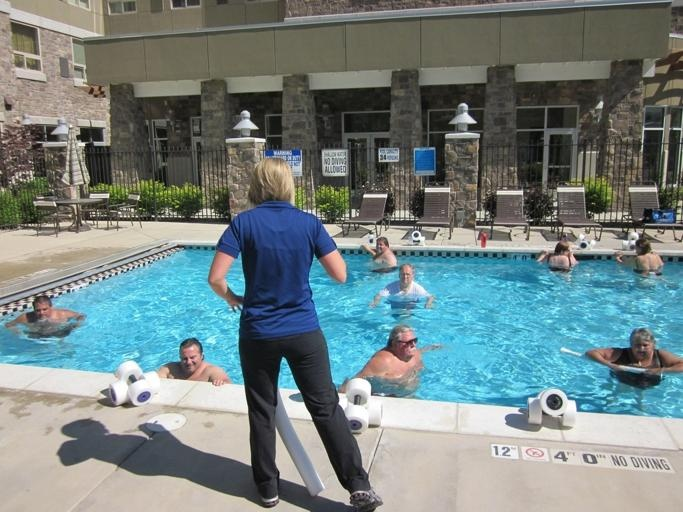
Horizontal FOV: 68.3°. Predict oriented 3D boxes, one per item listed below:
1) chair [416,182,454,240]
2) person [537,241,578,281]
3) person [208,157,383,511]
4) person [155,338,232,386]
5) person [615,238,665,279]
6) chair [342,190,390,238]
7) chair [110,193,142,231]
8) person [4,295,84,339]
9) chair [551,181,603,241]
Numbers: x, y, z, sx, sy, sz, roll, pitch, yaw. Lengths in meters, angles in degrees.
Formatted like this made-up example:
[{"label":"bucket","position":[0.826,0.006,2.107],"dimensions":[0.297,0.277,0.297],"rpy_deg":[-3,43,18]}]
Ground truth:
[{"label":"chair","position":[2.460,-1.153,13.091],"dimensions":[0.872,1.131,2.036],"rpy_deg":[3,13,12]},{"label":"person","position":[4.431,0.015,10.316],"dimensions":[0.737,0.615,0.638],"rpy_deg":[7,15,27]},{"label":"person","position":[-0.326,0.547,3.449],"dimensions":[1.085,2.364,0.540],"rpy_deg":[3,14,12]},{"label":"person","position":[-1.735,1.261,5.865],"dimensions":[0.949,0.551,0.557],"rpy_deg":[7,7,0]},{"label":"person","position":[6.001,0.098,10.137],"dimensions":[0.502,0.954,0.603],"rpy_deg":[-12,20,-12]},{"label":"chair","position":[0.759,-1.133,13.832],"dimensions":[0.857,0.868,1.647],"rpy_deg":[1,-9,-13]},{"label":"chair","position":[-6.885,-1.529,16.042],"dimensions":[0.999,0.878,2.684],"rpy_deg":[-5,14,-21]},{"label":"person","position":[-4.655,0.980,7.955],"dimensions":[1.060,0.726,0.588],"rpy_deg":[-2,-3,-23]},{"label":"chair","position":[5.680,-0.956,12.230],"dimensions":[0.838,0.997,1.506],"rpy_deg":[1,12,12]}]
